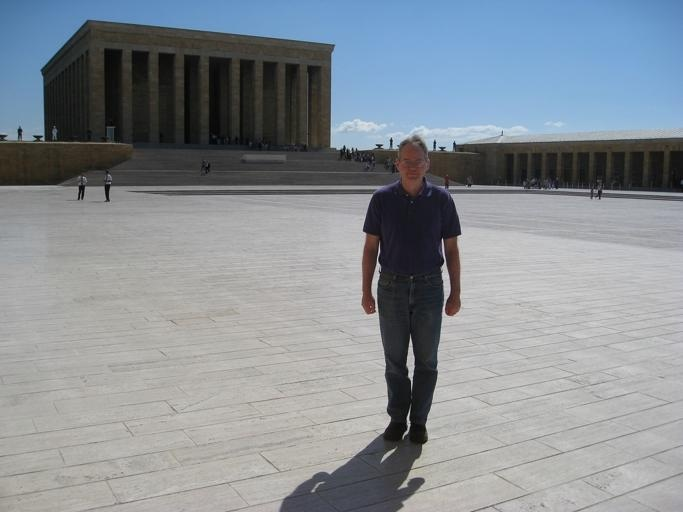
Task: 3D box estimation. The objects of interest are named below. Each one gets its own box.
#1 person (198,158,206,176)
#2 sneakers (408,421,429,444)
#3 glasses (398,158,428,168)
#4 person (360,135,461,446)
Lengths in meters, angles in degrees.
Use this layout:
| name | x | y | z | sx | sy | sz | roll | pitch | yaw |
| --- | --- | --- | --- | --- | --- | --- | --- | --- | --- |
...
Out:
| name | x | y | z | sx | sy | sz | roll | pitch | yaw |
| --- | --- | --- | --- | --- | --- | --- | --- | --- | --- |
| person | -14.450 | -9.125 | 50.175 | 0.573 | 1.521 | 1.703 | -2 | 9 | -17 |
| sneakers | 0.520 | 1.192 | 3.299 | 0.135 | 0.122 | 0.120 | 2 | 9 | 11 |
| glasses | 0.476 | -0.620 | 3.246 | 0.192 | 0.053 | 0.111 | 1 | 8 | 6 |
| person | 0.498 | 0.231 | 3.361 | 0.704 | 2.093 | 0.540 | 1 | 9 | 0 |
